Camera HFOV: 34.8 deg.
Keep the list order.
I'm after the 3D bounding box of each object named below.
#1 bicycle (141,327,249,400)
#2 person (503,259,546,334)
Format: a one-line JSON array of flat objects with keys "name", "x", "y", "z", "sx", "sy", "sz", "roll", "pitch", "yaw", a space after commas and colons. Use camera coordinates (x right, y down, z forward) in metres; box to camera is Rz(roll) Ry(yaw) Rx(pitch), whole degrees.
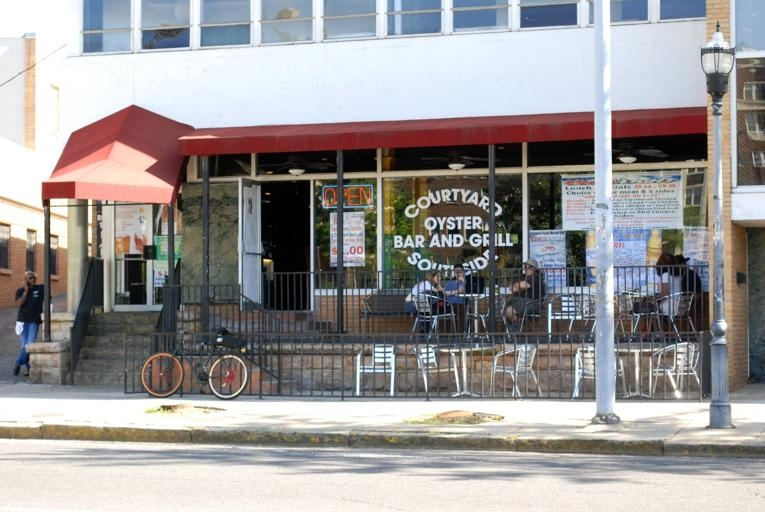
[{"name": "bicycle", "x": -3.848, "y": 2.230, "z": 25.286, "sx": 2.217, "sy": 1.442, "sz": 1.587, "roll": 0, "pitch": -6, "yaw": 1}, {"name": "person", "x": 2.941, "y": 0.810, "z": 25.498, "sx": 0.873, "sy": 1.543, "sz": 1.464, "roll": -1, "pitch": -6, "yaw": 8}]
